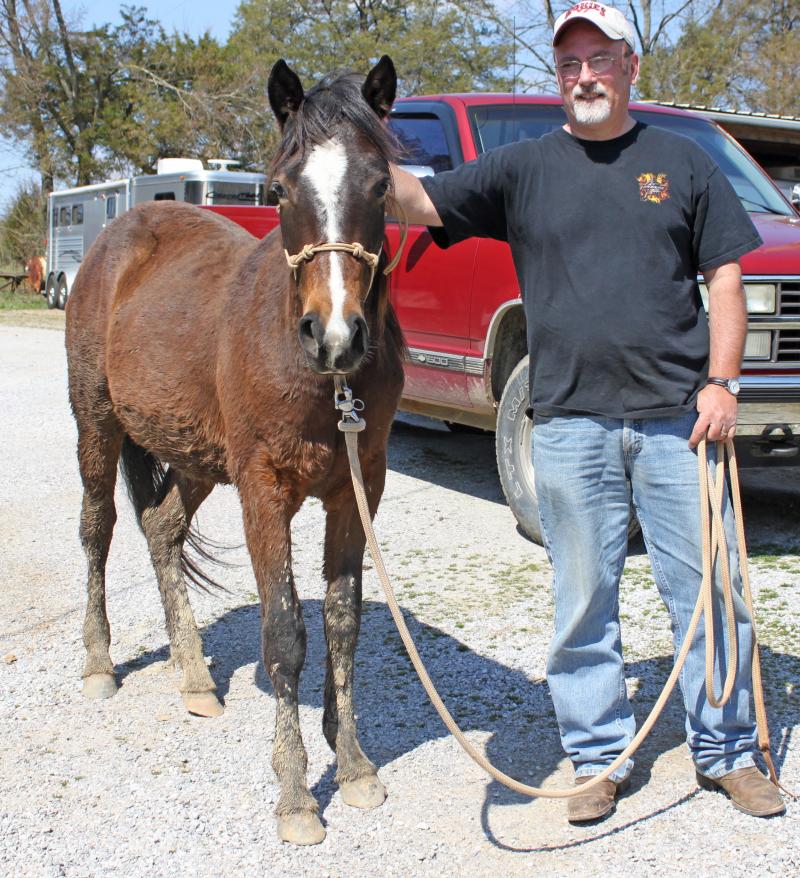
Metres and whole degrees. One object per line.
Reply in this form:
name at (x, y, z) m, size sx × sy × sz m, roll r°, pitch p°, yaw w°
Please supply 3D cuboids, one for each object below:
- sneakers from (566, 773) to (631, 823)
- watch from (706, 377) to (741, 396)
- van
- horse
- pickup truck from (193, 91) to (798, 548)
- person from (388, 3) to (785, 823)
sneakers at (0.586, 1.066, 3.300) m, size 0.099 × 0.099 × 0.257 m, roll -4°, pitch -5°, yaw 23°
watch at (0.913, -0.155, 3.166) m, size 0.063 × 0.032 × 0.063 m, roll 1°, pitch -5°, yaw 39°
van at (-5.286, -4.116, 23.612) m, size 2.108 × 2.906 × 6.146 m, roll -3°, pitch 7°, yaw -43°
horse at (-0.619, -0.073, 3.787) m, size 0.938 × 2.223 × 2.231 m, roll -6°, pitch 13°, yaw -20°
pickup truck at (0.881, -0.940, 6.709) m, size 2.054 × 1.597 × 3.869 m, roll -4°, pitch 7°, yaw -33°
person at (0.615, -0.077, 3.273) m, size 1.014 × 2.347 × 0.575 m, roll 0°, pitch 13°, yaw 9°
